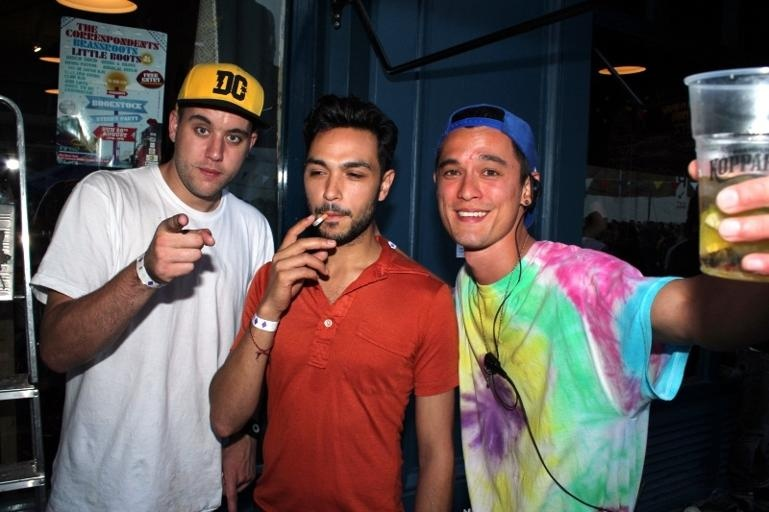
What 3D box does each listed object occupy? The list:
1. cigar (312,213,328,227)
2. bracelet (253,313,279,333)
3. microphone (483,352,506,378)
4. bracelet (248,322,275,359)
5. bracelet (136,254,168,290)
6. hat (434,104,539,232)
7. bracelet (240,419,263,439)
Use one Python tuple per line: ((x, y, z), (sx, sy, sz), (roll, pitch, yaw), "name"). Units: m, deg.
((-0.342, -0.197, 3.118), (0.020, 0.057, 0.073), (18, -24, -29), "cigar")
((-0.607, 0.343, 2.990), (0.097, 0.055, 0.097), (10, 4, -35), "bracelet")
((0.541, 0.544, 2.947), (0.062, 0.053, 0.153), (-4, 30, -22), "microphone")
((-0.628, 0.402, 2.967), (0.123, 0.190, 0.064), (7, 4, 2), "bracelet")
((-1.096, 0.071, 2.769), (0.049, 0.145, 0.138), (-13, -35, -9), "bracelet")
((0.562, -0.578, 3.278), (0.429, 0.499, 0.646), (0, 19, -3), "hat")
((-0.746, 0.951, 3.311), (0.120, 0.077, 0.097), (-10, -44, 47), "bracelet")
